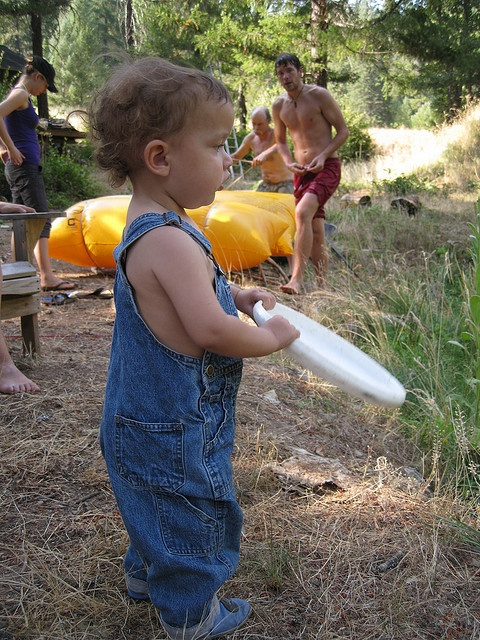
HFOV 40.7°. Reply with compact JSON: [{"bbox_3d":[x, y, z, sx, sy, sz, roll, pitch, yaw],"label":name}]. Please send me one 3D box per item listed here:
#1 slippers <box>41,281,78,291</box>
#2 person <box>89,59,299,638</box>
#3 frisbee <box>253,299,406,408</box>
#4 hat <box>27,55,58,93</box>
[{"bbox_3d":[-1.409,-0.273,5.047,0.238,0.063,0.089,-5,14,-14],"label":"slippers"},{"bbox_3d":[-0.134,0.100,1.546,0.385,1.393,0.406,-10,20,-34],"label":"person"},{"bbox_3d":[0.240,0.121,1.700,0.354,0.055,0.347,27,8,-17],"label":"frisbee"},{"bbox_3d":[-1.418,-1.765,4.668,0.183,0.233,0.464,0,14,-4],"label":"hat"}]
